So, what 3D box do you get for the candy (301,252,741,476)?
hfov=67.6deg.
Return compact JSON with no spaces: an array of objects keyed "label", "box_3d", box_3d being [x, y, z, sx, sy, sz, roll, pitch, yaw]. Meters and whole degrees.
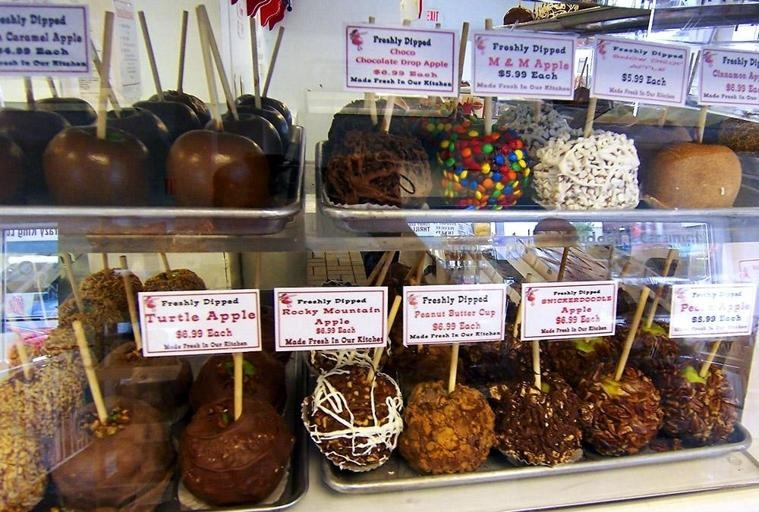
[{"label":"candy","box_3d":[0.538,0.271,1.358,0.701,0.339,0.272,-4,18,-7]}]
